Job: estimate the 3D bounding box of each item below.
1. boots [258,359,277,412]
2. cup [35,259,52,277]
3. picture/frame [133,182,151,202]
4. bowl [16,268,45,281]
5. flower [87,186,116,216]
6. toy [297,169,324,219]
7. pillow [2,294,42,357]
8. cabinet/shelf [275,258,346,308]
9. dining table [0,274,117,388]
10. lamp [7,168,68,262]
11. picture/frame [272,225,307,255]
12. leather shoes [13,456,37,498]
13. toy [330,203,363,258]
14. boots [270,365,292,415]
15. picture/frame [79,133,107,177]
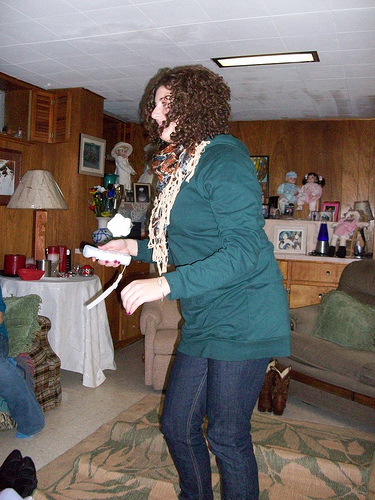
[{"bbox_3d":[0.534,0.863,2.551,0.116,0.229,0.352,3,8,11],"label":"boots"},{"bbox_3d":[-1.067,0.128,2.875,0.126,0.125,0.120,2,10,0],"label":"cup"},{"bbox_3d":[-0.515,-0.637,4.251,0.239,0.251,0.026,1,-4,-12],"label":"picture/frame"},{"bbox_3d":[-1.125,0.173,2.774,0.168,0.089,0.213,2,-3,-7],"label":"bowl"},{"bbox_3d":[-0.741,-0.428,3.473,0.274,0.329,0.320,2,-8,-7],"label":"flower"},{"bbox_3d":[1.550,-0.708,4.862,0.339,0.548,0.220,18,14,26],"label":"toy"},{"bbox_3d":[-0.905,0.449,2.216,0.296,0.283,0.097,-4,-25,14],"label":"pillow"},{"bbox_3d":[1.169,0.295,3.511,0.686,0.590,0.419,0,-6,14],"label":"cabinet/shelf"},{"bbox_3d":[-0.909,0.582,3.058,0.816,0.747,0.837,1,5,1],"label":"dining table"},{"bbox_3d":[-1.149,-0.265,2.908,0.384,0.688,0.257,0,-4,19],"label":"lamp"},{"bbox_3d":[1.219,-0.117,4.518,0.377,0.328,0.028,5,-19,13],"label":"picture/frame"},{"bbox_3d":[-0.597,0.839,1.427,0.067,0.069,0.186,5,36,-18],"label":"leather shoes"},{"bbox_3d":[1.834,-0.194,4.454,0.421,0.565,0.226,4,-5,-33],"label":"toy"},{"bbox_3d":[0.647,0.847,2.516,0.133,0.255,0.394,4,12,21],"label":"boots"},{"bbox_3d":[-0.992,-0.976,3.938,0.037,0.458,0.507,9,10,26],"label":"picture/frame"}]
